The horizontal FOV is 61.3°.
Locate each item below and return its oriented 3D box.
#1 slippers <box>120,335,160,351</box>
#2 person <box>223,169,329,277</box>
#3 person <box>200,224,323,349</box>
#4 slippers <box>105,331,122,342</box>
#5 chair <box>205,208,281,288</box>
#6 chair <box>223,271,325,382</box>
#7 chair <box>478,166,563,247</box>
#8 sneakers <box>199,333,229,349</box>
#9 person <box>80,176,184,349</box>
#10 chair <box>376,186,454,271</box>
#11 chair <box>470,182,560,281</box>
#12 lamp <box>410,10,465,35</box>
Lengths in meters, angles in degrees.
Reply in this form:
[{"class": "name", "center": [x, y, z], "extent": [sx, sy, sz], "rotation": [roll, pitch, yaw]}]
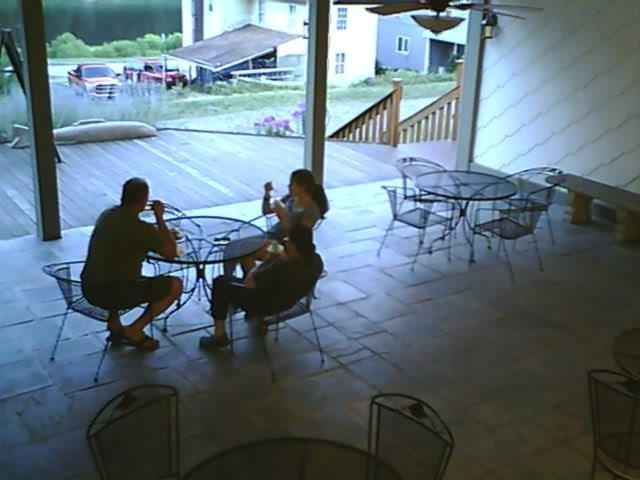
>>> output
[{"class": "slippers", "center": [-1.557, 0.887, 4.612], "extent": [0.265, 0.066, 0.139], "rotation": [5, 26, 1]}, {"class": "person", "center": [-0.463, -0.059, 5.053], "extent": [0.795, 1.252, 0.512], "rotation": [9, 16, -23]}, {"class": "person", "center": [-0.493, 0.412, 4.397], "extent": [0.745, 1.247, 0.489], "rotation": [28, 19, 19]}, {"class": "slippers", "center": [-1.726, 0.838, 4.582], "extent": [0.183, 0.073, 0.062], "rotation": [-3, 21, -16]}, {"class": "chair", "center": [-0.637, 0.138, 4.874], "extent": [0.685, 0.411, 0.585], "rotation": [0, 40, 4]}, {"class": "chair", "center": [-0.373, 0.643, 4.733], "extent": [0.750, 0.917, 0.765], "rotation": [-19, -5, -14]}, {"class": "chair", "center": [2.498, -0.382, 6.686], "extent": [1.036, 0.776, 0.810], "rotation": [-11, 30, -6]}, {"class": "sneakers", "center": [-0.926, 0.875, 4.682], "extent": [0.268, 0.097, 0.112], "rotation": [3, 29, 14]}, {"class": "person", "center": [-1.639, 0.214, 4.516], "extent": [0.854, 1.410, 0.825], "rotation": [1, 13, -32]}, {"class": "chair", "center": [1.157, -0.108, 6.531], "extent": [0.658, 0.824, 0.703], "rotation": [-25, 40, -29]}, {"class": "chair", "center": [2.286, -0.062, 6.375], "extent": [0.834, 1.003, 0.742], "rotation": [-19, 41, -21]}, {"class": "lamp", "center": [0.847, -1.646, 4.076], "extent": [0.291, 0.137, 0.287], "rotation": [-19, 31, -36]}]
